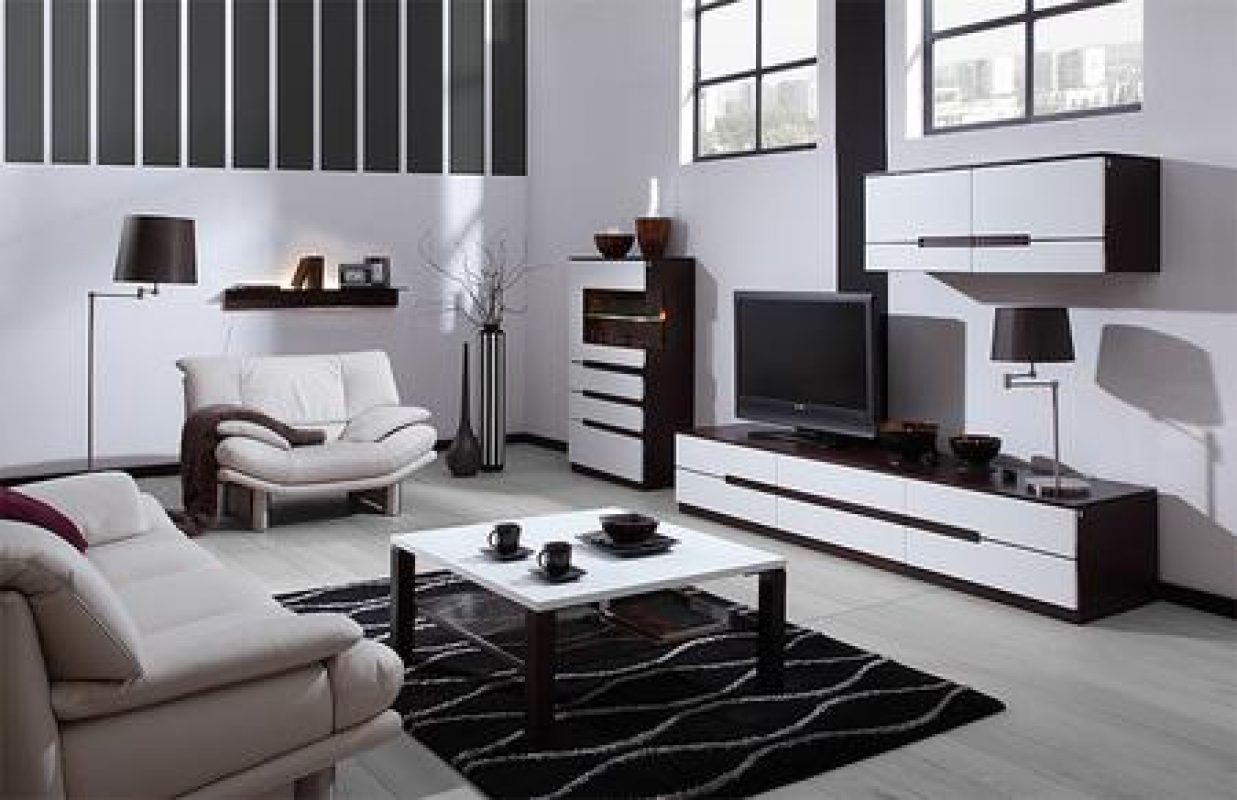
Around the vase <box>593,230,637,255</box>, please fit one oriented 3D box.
[{"bbox_3d":[-0.014,-1.292,7.403,0.265,0.123,0.254,-1,2,-13],"label":"vase"}]

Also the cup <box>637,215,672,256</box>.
[{"bbox_3d":[0.265,-1.314,7.202,0.337,0.328,0.322,0,2,0],"label":"cup"}]

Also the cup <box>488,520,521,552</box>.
[{"bbox_3d":[-0.502,0.628,4.030,0.159,0.139,0.102,-3,8,-31],"label":"cup"}]

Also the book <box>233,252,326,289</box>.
[{"bbox_3d":[-2.920,-1.115,7.785,0.701,0.303,0.306,-6,13,-24],"label":"book"}]

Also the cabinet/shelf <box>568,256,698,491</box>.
[{"bbox_3d":[0.079,-0.231,7.220,1.115,1.834,0.754,2,13,11],"label":"cabinet/shelf"}]

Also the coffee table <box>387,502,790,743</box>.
[{"bbox_3d":[-0.295,0.778,4.002,1.141,0.491,1.150,-2,4,-34],"label":"coffee table"}]

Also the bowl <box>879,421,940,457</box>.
[{"bbox_3d":[1.788,0.246,5.388,0.271,0.129,0.261,-1,5,0],"label":"bowl"}]

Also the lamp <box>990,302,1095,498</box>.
[{"bbox_3d":[2.359,-0.031,4.884,0.545,0.987,0.705,6,14,26],"label":"lamp"}]

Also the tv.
[{"bbox_3d":[1.290,-0.203,5.901,0.128,0.814,1.134,-5,6,-36],"label":"tv"}]

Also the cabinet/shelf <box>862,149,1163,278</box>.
[{"bbox_3d":[2.201,-1.040,4.993,1.486,0.623,0.451,10,16,39],"label":"cabinet/shelf"}]

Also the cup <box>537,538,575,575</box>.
[{"bbox_3d":[-0.268,0.665,3.764,0.141,0.143,0.156,-1,12,-4],"label":"cup"}]

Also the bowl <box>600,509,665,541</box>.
[{"bbox_3d":[0.027,0.586,4.152,0.150,0.073,0.181,-1,6,-25],"label":"bowl"}]

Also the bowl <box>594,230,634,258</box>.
[{"bbox_3d":[-0.015,-1.295,7.404,0.272,0.127,0.261,-1,1,0],"label":"bowl"}]

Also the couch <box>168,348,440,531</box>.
[{"bbox_3d":[-2.284,0.157,6.501,1.899,1.249,1.315,-2,5,-35],"label":"couch"}]

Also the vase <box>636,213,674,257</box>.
[{"bbox_3d":[0.278,-1.320,7.164,0.340,0.331,0.325,0,2,-2],"label":"vase"}]
